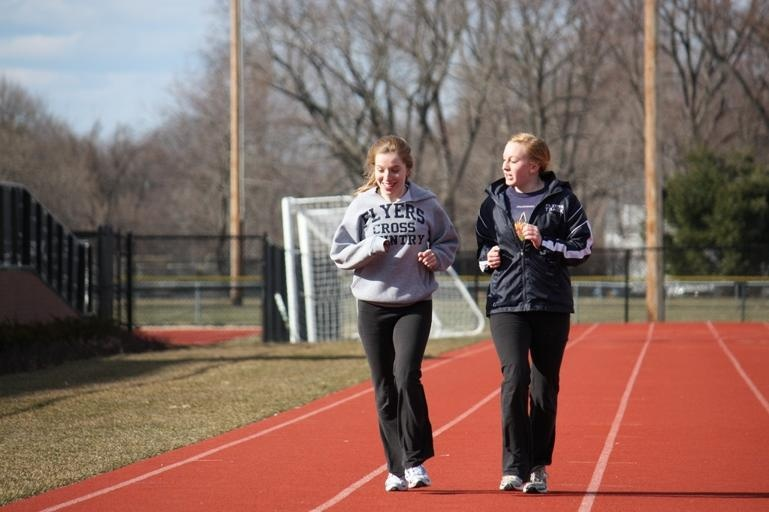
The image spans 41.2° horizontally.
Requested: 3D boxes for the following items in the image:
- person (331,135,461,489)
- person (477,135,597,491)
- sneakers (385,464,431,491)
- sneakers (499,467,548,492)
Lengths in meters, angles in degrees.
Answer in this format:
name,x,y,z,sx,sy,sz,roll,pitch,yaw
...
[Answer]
name,x,y,z,sx,sy,sz,roll,pitch,yaw
person,0.170,0.731,12.751,1.375,4.364,0.752,0,7,2
person,1.796,0.725,12.623,1.304,4.410,0.856,1,7,4
sneakers,0.303,2.771,12.714,0.600,0.284,0.264,-11,-11,37
sneakers,1.741,2.772,12.592,0.250,0.291,0.642,-6,-16,38
